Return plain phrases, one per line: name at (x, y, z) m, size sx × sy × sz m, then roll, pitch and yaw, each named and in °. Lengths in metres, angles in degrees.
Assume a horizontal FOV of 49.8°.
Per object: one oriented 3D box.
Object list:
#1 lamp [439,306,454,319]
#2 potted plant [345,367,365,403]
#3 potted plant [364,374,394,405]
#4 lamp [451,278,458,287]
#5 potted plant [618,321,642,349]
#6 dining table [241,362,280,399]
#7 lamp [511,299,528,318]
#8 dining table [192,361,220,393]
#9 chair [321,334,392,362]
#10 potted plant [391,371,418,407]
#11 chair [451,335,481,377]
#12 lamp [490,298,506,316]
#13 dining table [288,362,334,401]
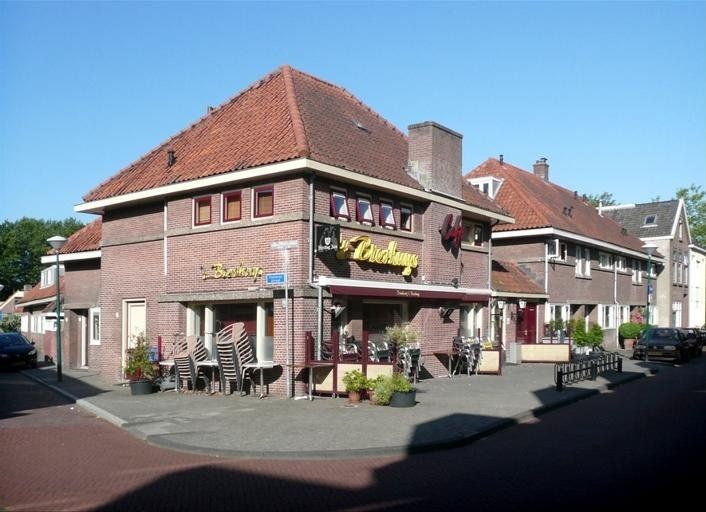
lamp at (3.552, 2.183, 29.089) m, size 0.146 × 0.509 × 1.149 m, roll 1°, pitch 1°, yaw 28°
potted plant at (-0.054, 3.822, 22.446) m, size 0.781 × 0.956 × 0.911 m, roll 0°, pitch -2°, yaw 3°
potted plant at (0.754, 3.799, 21.545) m, size 0.757 × 0.727 × 0.774 m, roll 0°, pitch 1°, yaw -17°
lamp at (3.892, 1.040, 29.223) m, size 0.140 × 0.377 × 0.362 m, roll 1°, pitch 1°, yaw 41°
potted plant at (17.417, 4.997, 47.938) m, size 1.599 × 1.813 × 1.742 m, roll 1°, pitch -3°, yaw -14°
dining table at (-2.975, 3.815, 23.628) m, size 1.046 × 1.100 × 1.449 m, roll -1°, pitch 1°, yaw -42°
lamp at (7.966, 2.540, 36.825) m, size 0.505 × 0.968 × 0.988 m, roll -3°, pitch -6°, yaw 32°
dining table at (-4.865, 3.915, 24.624) m, size 1.077 × 1.011 × 1.014 m, roll -1°, pitch -9°, yaw -1°
chair at (0.242, 3.097, 24.808) m, size 2.731 × 0.778 × 1.071 m, roll 4°, pitch -1°, yaw -20°
potted plant at (1.391, 3.854, 21.456) m, size 0.777 × 0.730 × 0.756 m, roll 1°, pitch -11°, yaw -4°
chair at (4.310, 3.812, 29.067) m, size 1.367 × 1.669 × 1.394 m, roll 9°, pitch -11°, yaw -40°
lamp at (6.516, 2.300, 34.396) m, size 0.770 × 0.959 × 0.829 m, roll -2°, pitch -5°, yaw 23°
dining table at (-1.226, 3.813, 23.255) m, size 1.221 × 1.039 × 1.226 m, roll 0°, pitch 0°, yaw 23°
